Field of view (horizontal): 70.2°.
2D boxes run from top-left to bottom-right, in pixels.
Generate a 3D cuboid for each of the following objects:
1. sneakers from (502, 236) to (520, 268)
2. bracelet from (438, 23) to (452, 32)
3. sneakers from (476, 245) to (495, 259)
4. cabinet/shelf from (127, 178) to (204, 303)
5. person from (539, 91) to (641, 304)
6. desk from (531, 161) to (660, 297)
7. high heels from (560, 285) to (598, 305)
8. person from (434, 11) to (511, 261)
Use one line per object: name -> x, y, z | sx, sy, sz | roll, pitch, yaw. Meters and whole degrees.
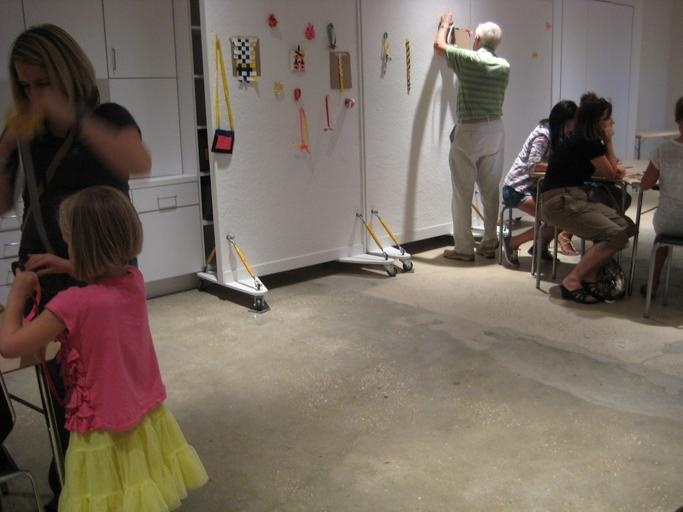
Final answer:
sneakers -> 1.703, -0.057, 4.898 | 0.118, 0.283, 0.091 | -17, -1, 42
bracelet -> 1.046, -2.338, 4.926 | 0.129, 0.109, 0.111 | -1, 12, 8
sneakers -> 1.545, -0.063, 5.215 | 0.079, 0.110, 0.213 | -4, 18, -16
cabinet/shelf -> -1.648, -0.289, 4.423 | 0.578, 1.074, 0.565 | -10, 32, -32
person -> 1.991, -0.476, 3.946 | 0.706, 1.643, 0.421 | 6, 13, 34
desk -> 2.547, -0.272, 4.915 | 0.912, 1.084, 1.465 | 19, 17, 36
high heels -> 1.918, 0.296, 3.936 | 0.270, 0.119, 0.114 | 3, 10, 30
person -> 1.380, -1.154, 5.012 | 0.647, 2.363, 0.314 | -5, 11, -18
